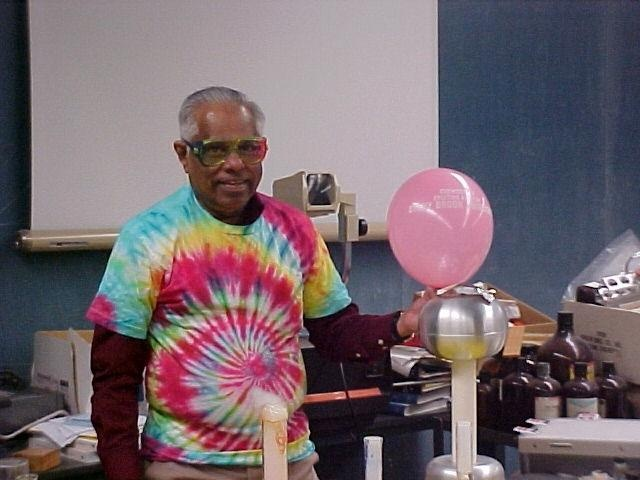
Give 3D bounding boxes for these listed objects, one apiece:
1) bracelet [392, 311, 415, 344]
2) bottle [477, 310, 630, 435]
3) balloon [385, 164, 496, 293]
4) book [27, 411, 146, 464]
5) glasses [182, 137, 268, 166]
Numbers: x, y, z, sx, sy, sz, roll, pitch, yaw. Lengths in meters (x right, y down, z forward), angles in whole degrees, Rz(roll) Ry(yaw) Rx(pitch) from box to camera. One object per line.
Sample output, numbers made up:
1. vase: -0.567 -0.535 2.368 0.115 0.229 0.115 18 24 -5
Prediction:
1. bracelet: 0.253 0.244 1.843 0.050 0.087 0.089 4 27 4
2. bottle: 0.822 0.460 2.259 0.506 0.363 0.316 -2 -1 26
3. balloon: 0.324 -0.016 1.744 0.305 0.401 0.306 7 -7 -19
4. book: -0.837 0.657 2.164 0.241 0.070 0.255 3 2 29
5. glasses: -0.257 -0.241 1.769 0.222 0.084 0.078 -1 -1 -10
